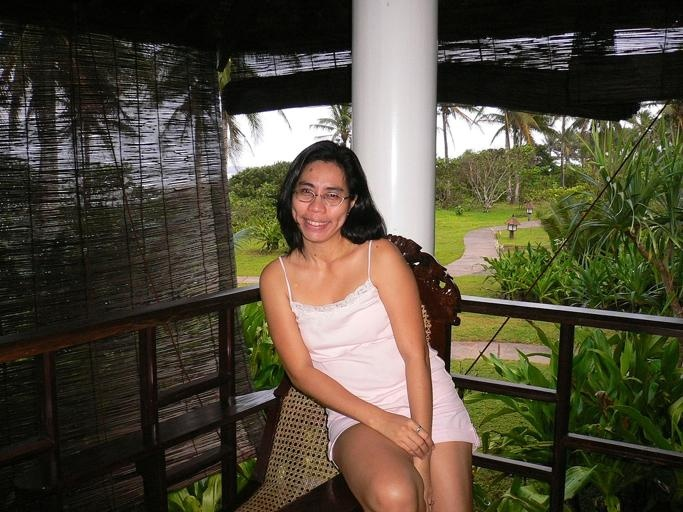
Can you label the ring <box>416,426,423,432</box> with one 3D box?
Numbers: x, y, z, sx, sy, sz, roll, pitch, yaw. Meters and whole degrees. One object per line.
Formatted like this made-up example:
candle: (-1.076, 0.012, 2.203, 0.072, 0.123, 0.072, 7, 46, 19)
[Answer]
ring: (0.246, 0.544, 1.490, 0.007, 0.015, 0.020, -24, 3, -28)
